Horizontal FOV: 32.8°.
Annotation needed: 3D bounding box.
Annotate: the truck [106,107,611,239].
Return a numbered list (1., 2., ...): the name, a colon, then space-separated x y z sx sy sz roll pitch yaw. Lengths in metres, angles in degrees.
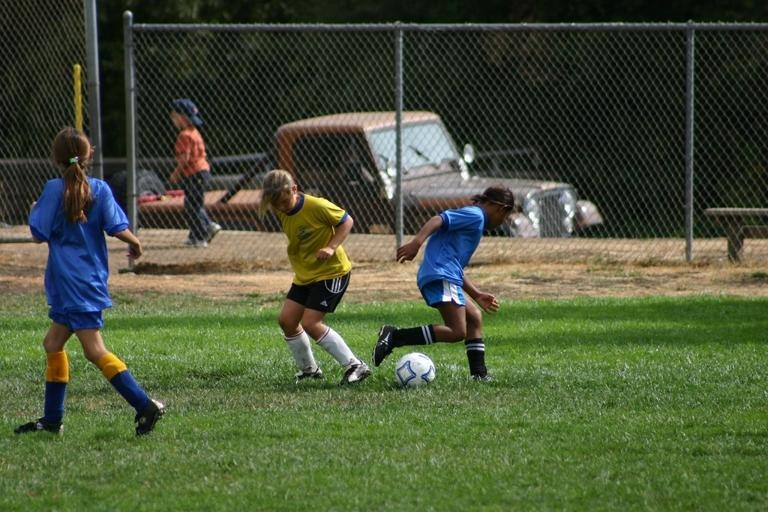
1. truck: 0.001 -1.262 19.404 4.536 1.963 2.801 0 4 14

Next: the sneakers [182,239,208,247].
1. sneakers: -2.656 -0.168 18.503 0.204 0.084 0.152 -2 -6 38

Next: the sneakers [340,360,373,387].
1. sneakers: -0.276 1.235 13.529 0.387 0.150 0.193 -40 -52 19

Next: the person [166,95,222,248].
1. person: -2.689 -1.186 18.575 0.659 2.122 0.800 -2 4 -8

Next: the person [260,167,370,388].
1. person: -0.721 0.222 13.511 1.014 2.222 0.445 -1 4 -1

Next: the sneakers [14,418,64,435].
1. sneakers: -3.289 1.661 12.657 0.488 0.204 0.167 2 -10 -1

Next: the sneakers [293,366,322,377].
1. sneakers: -0.783 1.226 13.695 0.313 0.145 0.108 2 -5 -7

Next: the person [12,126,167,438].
1. person: -2.874 0.411 12.471 1.144 2.648 0.382 -2 4 -15

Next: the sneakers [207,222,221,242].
1. sneakers: -2.428 -0.326 18.673 0.105 0.145 0.337 9 -42 -26

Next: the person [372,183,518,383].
1. person: 0.659 0.285 13.499 1.404 1.991 0.598 -1 4 6

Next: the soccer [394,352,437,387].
1. soccer: 0.325 1.209 13.503 0.338 0.350 0.348 -12 -37 7
